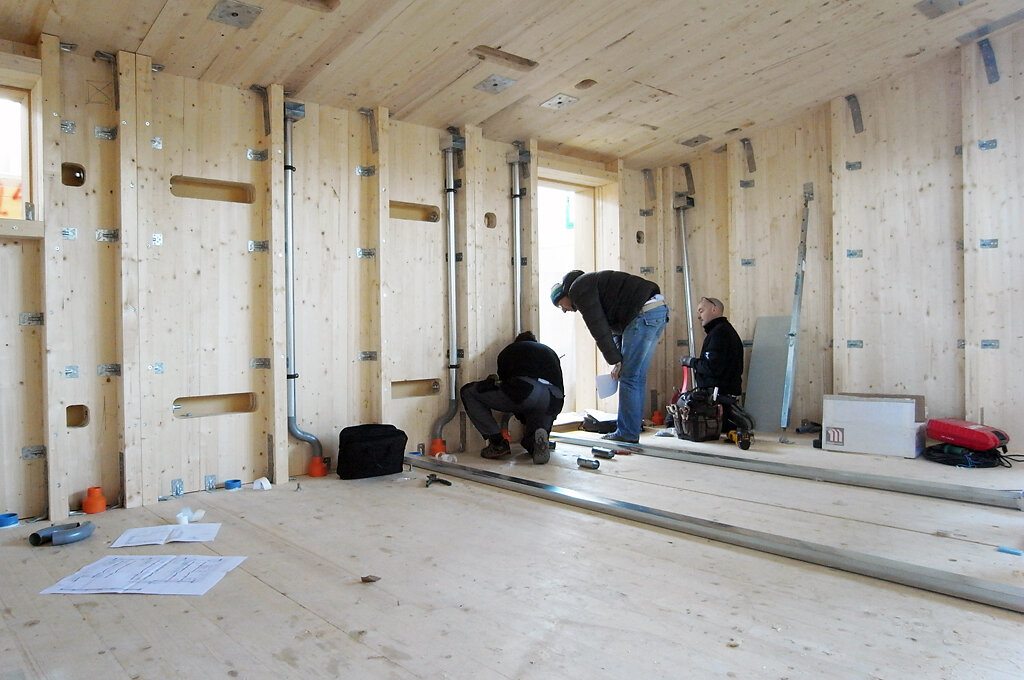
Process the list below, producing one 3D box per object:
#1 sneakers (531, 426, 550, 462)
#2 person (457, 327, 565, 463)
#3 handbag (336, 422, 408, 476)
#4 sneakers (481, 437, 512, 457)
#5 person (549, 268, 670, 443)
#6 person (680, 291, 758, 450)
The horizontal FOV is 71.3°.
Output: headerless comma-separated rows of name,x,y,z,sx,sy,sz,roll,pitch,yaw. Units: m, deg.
sneakers,0.265,0.982,6.748,0.150,0.318,0.141,0,0,2
person,0.045,0.524,7.207,1.060,1.291,0.952,8,-11,-13
handbag,-1.253,0.954,6.400,0.713,0.454,0.426,0,0,-29
sneakers,-0.163,1.074,7.089,0.273,0.175,0.158,6,-9,-9
person,1.045,0.175,7.335,1.060,1.749,0.644,-1,14,4
person,2.165,0.316,7.683,0.774,1.431,1.294,2,14,14
